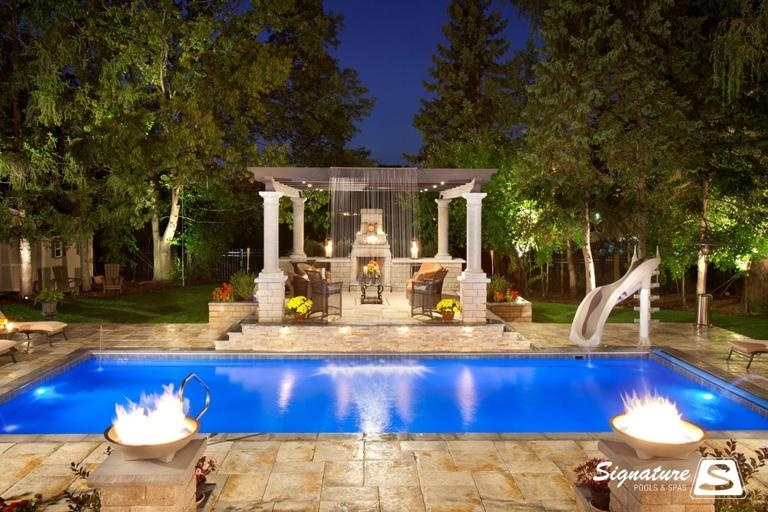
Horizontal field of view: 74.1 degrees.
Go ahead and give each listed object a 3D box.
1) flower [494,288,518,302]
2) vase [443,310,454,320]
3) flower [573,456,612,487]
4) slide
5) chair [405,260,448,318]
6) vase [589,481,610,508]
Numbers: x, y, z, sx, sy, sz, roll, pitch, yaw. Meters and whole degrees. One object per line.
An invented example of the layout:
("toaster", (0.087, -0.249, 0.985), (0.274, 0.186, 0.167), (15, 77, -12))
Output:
("flower", (4.129, 1.320, 17.228), (0.925, 0.426, 0.721), (0, -1, -2))
("vase", (1.814, 1.660, 14.335), (0.289, 0.229, 0.253), (0, -2, 2))
("flower", (2.910, 3.019, 7.095), (0.373, 0.266, 0.440), (0, 0, 19))
("slide", (6.131, 1.288, 13.310), (2.433, 2.475, 0.801), (-4, 3, -15))
("chair", (1.374, 1.034, 15.672), (1.225, 2.026, 1.540), (-2, 5, -45))
("vase", (2.911, 3.220, 6.932), (0.261, 0.280, 0.283), (1, 0, -31))
